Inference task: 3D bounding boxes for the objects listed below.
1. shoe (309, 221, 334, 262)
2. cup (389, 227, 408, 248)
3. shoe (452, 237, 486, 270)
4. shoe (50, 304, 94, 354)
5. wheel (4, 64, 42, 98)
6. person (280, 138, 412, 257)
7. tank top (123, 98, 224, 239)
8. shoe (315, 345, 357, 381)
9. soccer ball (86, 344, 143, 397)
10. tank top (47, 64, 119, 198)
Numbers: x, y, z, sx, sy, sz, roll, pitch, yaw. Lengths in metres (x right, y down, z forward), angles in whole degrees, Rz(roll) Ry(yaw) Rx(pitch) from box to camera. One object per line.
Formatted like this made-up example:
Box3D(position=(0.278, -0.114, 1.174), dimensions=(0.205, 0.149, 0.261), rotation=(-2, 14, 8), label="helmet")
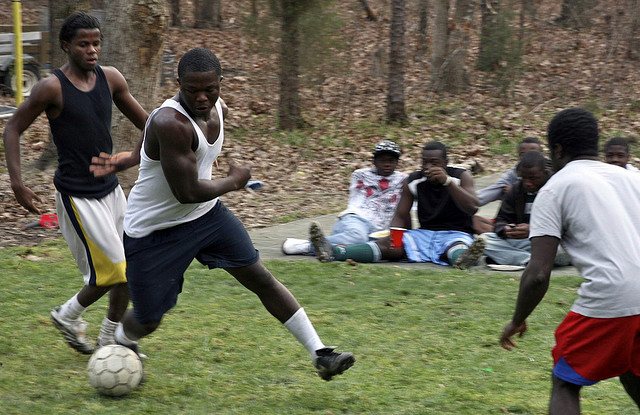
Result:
Box3D(position=(-0.062, 0.476, 8.767), dimensions=(0.429, 0.567, 0.259), rotation=(2, -18, -35), label="shoe")
Box3D(position=(1.049, 0.417, 8.880), dimensions=(0.204, 0.283, 0.124), rotation=(4, 13, 3), label="cup")
Box3D(position=(1.988, 0.620, 8.491), dimensions=(0.585, 0.151, 0.303), rotation=(-30, -25, -1), label="shoe")
Box3D(position=(-2.256, 1.104, 5.753), dimensions=(0.369, 0.446, 0.186), rotation=(0, 13, -14), label="shoe")
Box3D(position=(-7.632, -3.307, 16.518), dimensions=(0.878, 0.832, 1.081), rotation=(-5, 13, -34), label="wheel")
Box3D(position=(0.451, -0.051, 8.880), dimensions=(1.244, 1.149, 2.213), rotation=(13, 27, 32), label="person")
Box3D(position=(-1.174, -0.302, 5.071), dimensions=(0.777, 1.128, 0.517), rotation=(0, 13, -13), label="tank top")
Box3D(position=(0.103, 1.324, 5.264), dimensions=(0.283, 0.367, 0.197), rotation=(14, 16, 42), label="shoe")
Box3D(position=(-1.665, 1.330, 5.135), dimensions=(0.349, 0.284, 0.301), rotation=(-27, 72, -38), label="soccer ball")
Box3D(position=(-2.112, -0.684, 5.652), dimensions=(0.563, 1.176, 0.424), rotation=(-3, 15, -26), label="tank top")
